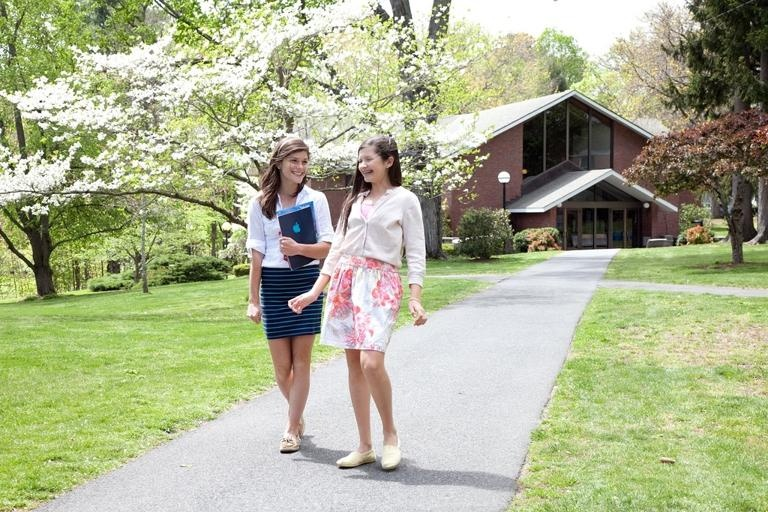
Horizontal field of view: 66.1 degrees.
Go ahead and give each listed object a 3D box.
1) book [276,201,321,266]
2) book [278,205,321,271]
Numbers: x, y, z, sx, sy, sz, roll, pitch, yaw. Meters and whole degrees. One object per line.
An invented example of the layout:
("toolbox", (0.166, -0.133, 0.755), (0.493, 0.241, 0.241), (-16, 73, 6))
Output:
("book", (-0.786, -0.206, 5.515), (0.516, 0.509, 0.126), (-11, 9, -29))
("book", (-0.779, -0.192, 5.501), (0.533, 0.527, 0.129), (-10, 9, -27))
